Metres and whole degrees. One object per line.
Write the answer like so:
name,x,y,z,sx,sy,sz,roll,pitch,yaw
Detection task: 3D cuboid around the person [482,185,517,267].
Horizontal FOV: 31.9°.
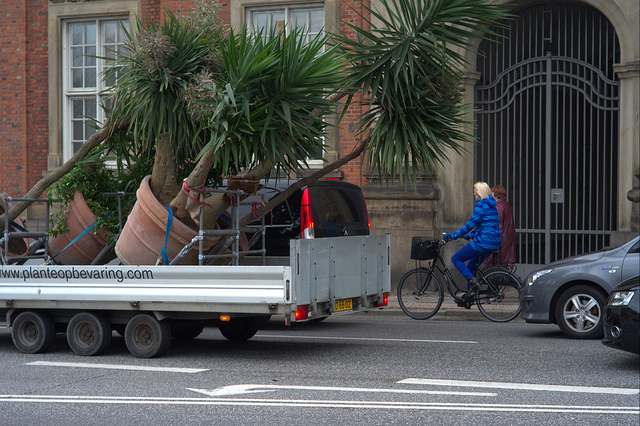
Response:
person,3.669,0.372,22.426,0.618,1.828,0.885,0,-1,-1

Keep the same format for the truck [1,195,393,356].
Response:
truck,-2.168,1.082,19.028,6.366,2.319,2.272,-3,-5,28

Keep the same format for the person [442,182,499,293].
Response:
person,2.865,0.498,21.682,0.953,2.240,1.125,0,6,-37
